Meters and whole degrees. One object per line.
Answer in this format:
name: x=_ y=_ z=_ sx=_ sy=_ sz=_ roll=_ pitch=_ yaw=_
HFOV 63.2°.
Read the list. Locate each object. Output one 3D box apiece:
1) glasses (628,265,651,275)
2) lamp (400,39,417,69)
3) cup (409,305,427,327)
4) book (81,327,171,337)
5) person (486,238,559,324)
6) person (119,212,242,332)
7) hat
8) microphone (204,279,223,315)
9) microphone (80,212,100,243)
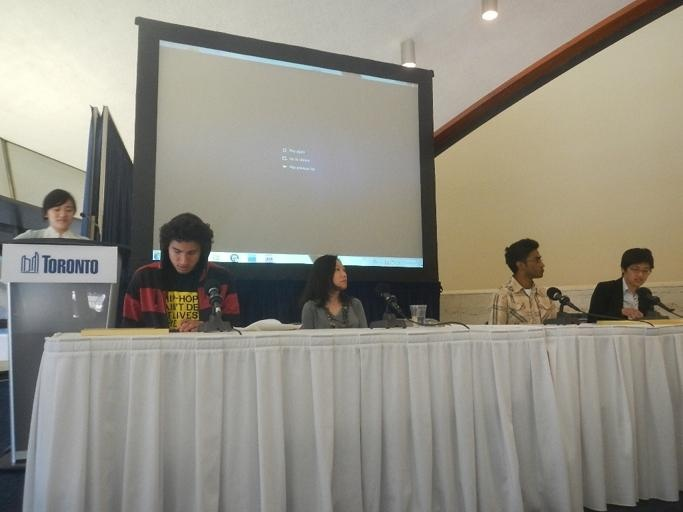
glasses: x=2.422 y=0.102 z=4.480 sx=0.081 sy=0.028 sz=0.090 roll=3 pitch=-35 yaw=6
lamp: x=0.759 y=-2.242 z=6.192 sx=0.228 sy=0.309 sz=0.199 roll=0 pitch=-4 yaw=-17
cup: x=0.472 y=0.356 z=3.274 sx=0.094 sy=0.123 sz=0.101 roll=-1 pitch=-13 yaw=0
book: x=-1.067 y=0.377 z=2.744 sx=0.426 sy=0.034 sz=0.105 roll=0 pitch=-4 yaw=-6
person: x=1.647 y=0.225 z=4.950 sx=0.669 sy=0.978 sz=0.359 roll=8 pitch=-13 yaw=-34
person: x=-1.143 y=0.125 z=3.882 sx=0.637 sy=1.021 sz=0.494 roll=4 pitch=-13 yaw=-26
hat: x=-1.107 y=-0.051 z=4.044 sx=0.373 sy=0.614 sz=0.418 roll=3 pitch=-2 yaw=-18
microphone: x=-0.699 y=0.225 z=3.053 sx=0.071 sy=0.270 sz=0.096 roll=9 pitch=-52 yaw=-24
microphone: x=-1.796 y=-0.214 z=3.973 sx=0.131 sy=0.197 sz=0.171 roll=1 pitch=-4 yaw=-17
